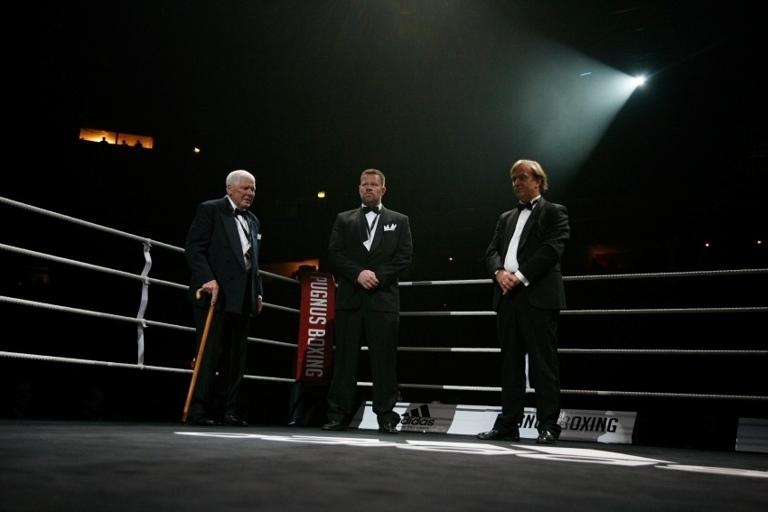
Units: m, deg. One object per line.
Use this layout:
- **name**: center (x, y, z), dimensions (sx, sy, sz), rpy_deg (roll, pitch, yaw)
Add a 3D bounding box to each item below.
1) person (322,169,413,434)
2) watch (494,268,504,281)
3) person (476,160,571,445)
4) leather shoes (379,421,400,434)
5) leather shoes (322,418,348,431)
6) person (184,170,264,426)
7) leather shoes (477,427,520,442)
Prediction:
- **person**: center (-0.143, 0.287, 4.628), dimensions (0.702, 2.169, 0.469), rpy_deg (4, -18, 3)
- **watch**: center (0.857, 0.142, 4.329), dimensions (0.052, 0.072, 0.071), rpy_deg (22, 5, -5)
- **person**: center (1.061, 0.306, 4.311), dimensions (0.587, 2.083, 0.472), rpy_deg (2, -18, 11)
- **leather shoes**: center (0.042, 1.326, 4.464), dimensions (0.155, 0.090, 0.083), rpy_deg (-6, -10, 18)
- **leather shoes**: center (-0.375, 1.300, 4.456), dimensions (0.207, 0.104, 0.077), rpy_deg (7, -15, -6)
- **person**: center (-1.258, 0.297, 4.564), dimensions (0.394, 1.995, 0.694), rpy_deg (-5, -21, 28)
- **leather shoes**: center (0.840, 1.304, 4.188), dimensions (0.292, 0.138, 0.112), rpy_deg (3, -21, 9)
